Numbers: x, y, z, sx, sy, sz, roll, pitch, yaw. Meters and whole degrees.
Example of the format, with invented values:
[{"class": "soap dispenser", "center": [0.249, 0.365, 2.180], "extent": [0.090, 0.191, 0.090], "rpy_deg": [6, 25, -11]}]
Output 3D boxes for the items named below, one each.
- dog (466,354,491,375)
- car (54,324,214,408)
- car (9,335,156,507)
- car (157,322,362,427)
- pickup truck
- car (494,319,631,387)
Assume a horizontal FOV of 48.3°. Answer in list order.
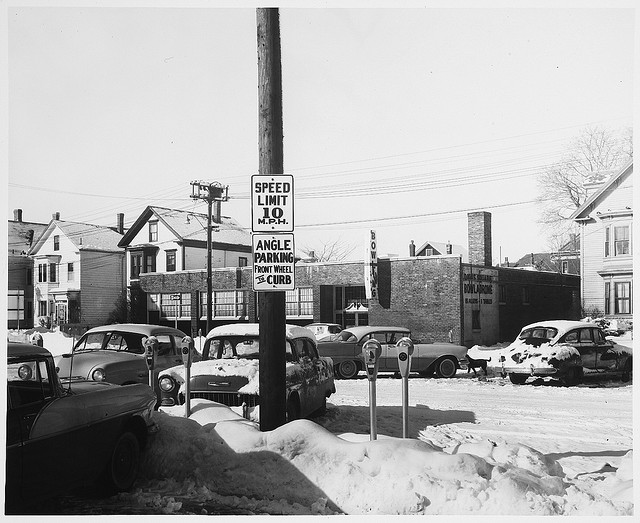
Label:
[{"class": "dog", "center": [4.271, 2.774, 19.393], "extent": [0.506, 0.601, 1.319], "rpy_deg": [0, 0, 17]}, {"class": "car", "center": [-3.729, 1.919, 13.718], "extent": [1.475, 1.405, 2.681], "rpy_deg": [-5, -10, 26]}, {"class": "car", "center": [-2.971, 1.988, 8.627], "extent": [1.164, 1.256, 2.148], "rpy_deg": [-1, 0, 35]}, {"class": "car", "center": [-0.916, 1.874, 12.211], "extent": [1.492, 1.307, 2.740], "rpy_deg": [-3, -7, 16]}, {"class": "pickup truck", "center": [1.950, 2.434, 19.134], "extent": [3.387, 1.420, 1.706], "rpy_deg": [-1, -2, -1]}, {"class": "car", "center": [5.988, 2.204, 17.345], "extent": [2.988, 1.523, 1.225], "rpy_deg": [0, 0, -21]}]
